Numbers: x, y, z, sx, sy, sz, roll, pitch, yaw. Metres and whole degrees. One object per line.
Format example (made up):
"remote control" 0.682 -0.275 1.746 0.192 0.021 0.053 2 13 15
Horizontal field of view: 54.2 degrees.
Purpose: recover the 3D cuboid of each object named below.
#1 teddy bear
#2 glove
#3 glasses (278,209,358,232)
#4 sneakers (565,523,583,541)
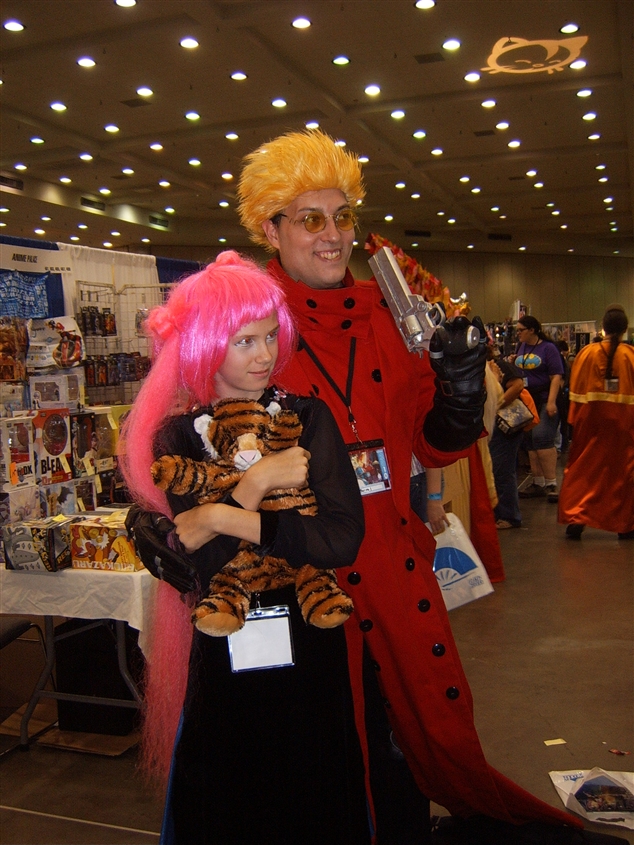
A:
"teddy bear" -0.086 0.131 0.857 0.254 0.291 0.191 -4 2 -6
"glove" 0.220 -0.102 0.975 0.098 0.120 0.057 -3 20 13
"glasses" -0.003 -0.386 1.206 0.150 0.039 0.058 -4 2 -1
"sneakers" 2.233 0.930 5.444 0.122 0.158 0.168 4 7 22
